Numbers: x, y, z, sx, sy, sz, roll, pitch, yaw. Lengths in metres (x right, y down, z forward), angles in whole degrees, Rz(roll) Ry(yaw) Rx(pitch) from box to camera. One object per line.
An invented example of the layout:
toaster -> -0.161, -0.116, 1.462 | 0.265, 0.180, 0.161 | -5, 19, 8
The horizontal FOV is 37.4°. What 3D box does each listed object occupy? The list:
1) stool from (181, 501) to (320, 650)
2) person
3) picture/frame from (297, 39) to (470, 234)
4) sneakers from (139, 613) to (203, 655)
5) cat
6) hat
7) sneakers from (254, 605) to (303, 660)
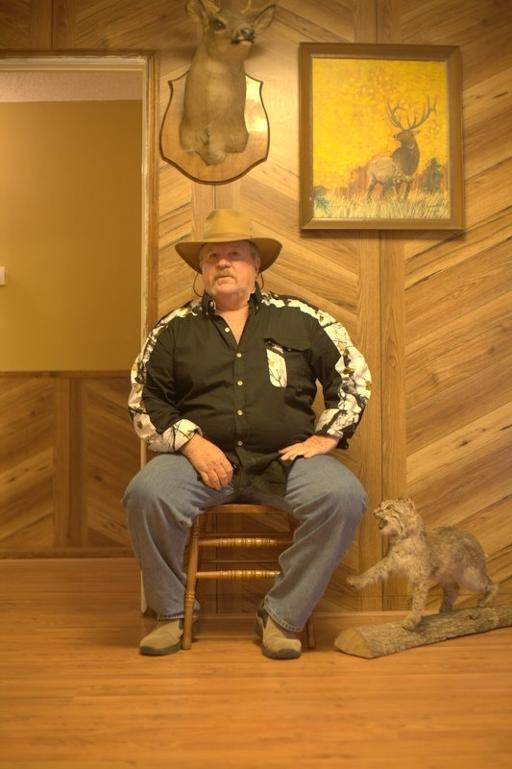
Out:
stool -> -0.032, 0.499, 2.098 | 0.333, 0.357, 0.420 | 0, -4, -6
person -> -0.009, 0.106, 2.038 | 0.771, 1.059, 0.618 | -4, 14, -24
picture/frame -> 0.372, -0.758, 2.333 | 0.704, 0.680, 0.049 | 0, 1, -2
sneakers -> -0.227, 0.620, 1.854 | 0.084, 0.066, 0.119 | -2, -4, 14
cat -> 0.444, 0.458, 1.985 | 0.451, 0.319, 0.134 | 3, -6, -40
hat -> -0.076, -0.424, 2.204 | 0.319, 0.111, 0.316 | 5, -15, -20
sneakers -> 0.050, 0.605, 1.868 | 0.096, 0.076, 0.198 | -2, 6, -15
